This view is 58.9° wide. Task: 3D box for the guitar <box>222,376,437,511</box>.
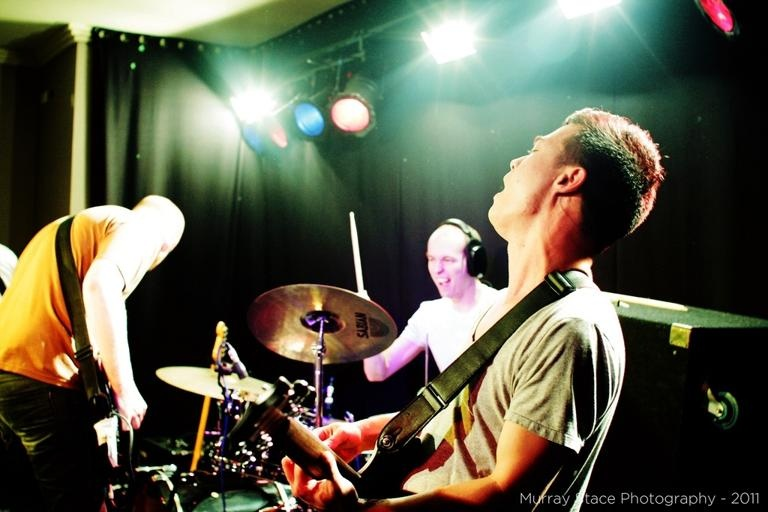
[{"bbox_3d":[-0.360,1.136,4.040,0.959,0.401,0.133,33,-6,-16],"label":"guitar"}]
